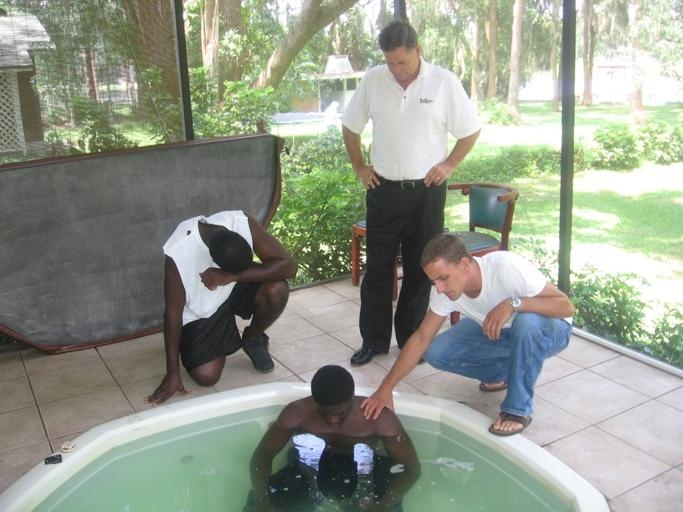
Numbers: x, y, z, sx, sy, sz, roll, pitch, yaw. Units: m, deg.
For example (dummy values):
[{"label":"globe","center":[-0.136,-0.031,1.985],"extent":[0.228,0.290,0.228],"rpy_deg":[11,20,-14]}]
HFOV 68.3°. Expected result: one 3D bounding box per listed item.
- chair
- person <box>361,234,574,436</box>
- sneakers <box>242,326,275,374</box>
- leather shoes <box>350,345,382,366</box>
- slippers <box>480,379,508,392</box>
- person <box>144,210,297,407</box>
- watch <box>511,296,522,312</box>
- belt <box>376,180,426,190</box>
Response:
[{"label":"chair","center":[0.970,-0.061,3.767],"extent":[0.566,0.867,0.604],"rpy_deg":[-2,16,-9]},{"label":"person","center":[0.674,0.378,2.525],"extent":[0.927,1.028,0.677],"rpy_deg":[2,18,7]},{"label":"sneakers","center":[-0.545,0.616,3.251],"extent":[0.128,0.158,0.360],"rpy_deg":[-14,40,-30]},{"label":"leather shoes","center":[0.159,0.645,3.316],"extent":[0.211,0.093,0.089],"rpy_deg":[-9,12,-42]},{"label":"slippers","center":[0.878,0.754,2.919],"extent":[0.148,0.041,0.061],"rpy_deg":[-4,33,3]},{"label":"person","center":[-0.778,0.344,3.078],"extent":[0.749,0.901,0.485],"rpy_deg":[-34,65,-22]},{"label":"watch","center":[0.815,0.224,2.352],"extent":[0.037,0.063,0.060],"rpy_deg":[-1,-10,7]},{"label":"belt","center":[0.382,-0.433,3.068],"extent":[0.242,0.058,0.031],"rpy_deg":[4,18,13]}]
